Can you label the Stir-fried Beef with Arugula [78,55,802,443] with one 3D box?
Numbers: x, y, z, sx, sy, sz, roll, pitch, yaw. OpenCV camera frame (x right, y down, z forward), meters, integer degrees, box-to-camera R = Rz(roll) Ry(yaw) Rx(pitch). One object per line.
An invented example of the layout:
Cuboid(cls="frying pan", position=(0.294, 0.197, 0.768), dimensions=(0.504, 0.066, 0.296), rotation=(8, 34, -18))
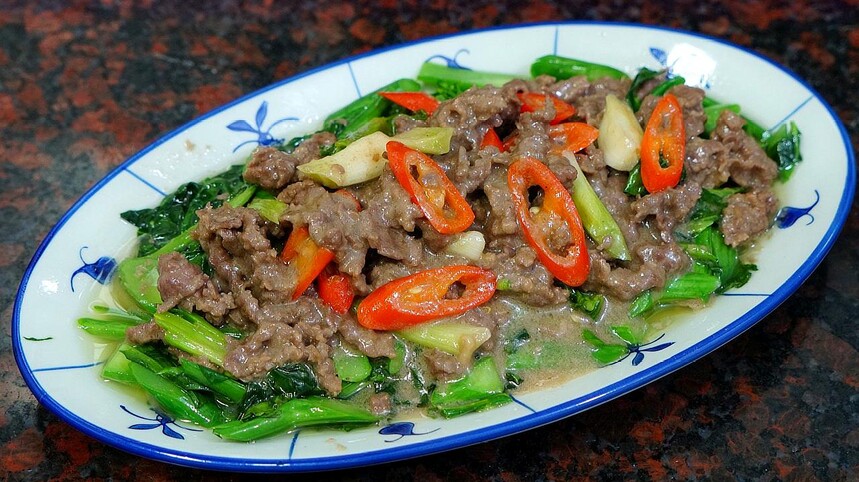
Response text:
Cuboid(cls="Stir-fried Beef with Arugula", position=(-0.203, -0.218, 7.827), dimensions=(7.288, 1.204, 4.023), rotation=(-21, 59, -11))
